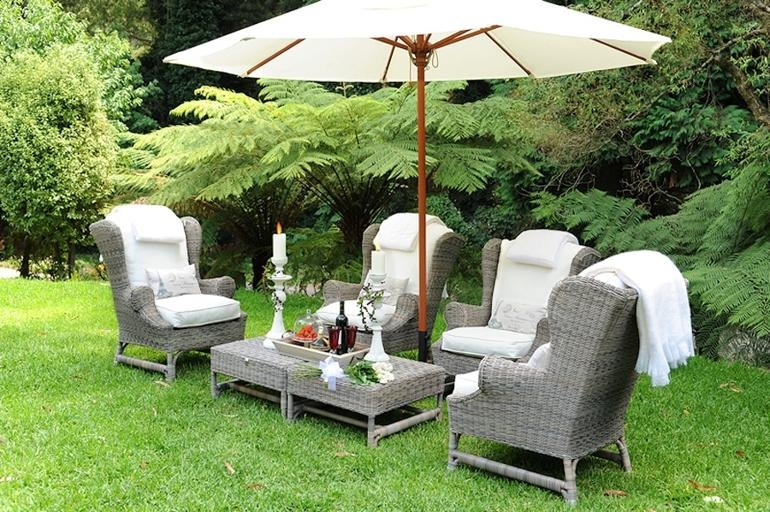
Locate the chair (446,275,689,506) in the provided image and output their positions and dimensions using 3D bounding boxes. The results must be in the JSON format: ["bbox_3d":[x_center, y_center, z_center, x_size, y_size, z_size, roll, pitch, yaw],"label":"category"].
[{"bbox_3d":[1.432,0.972,5.705,1.629,1.683,1.436,0,0,45],"label":"chair"}]

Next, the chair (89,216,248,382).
[{"bbox_3d":[-2.232,0.340,7.279,1.424,1.478,1.316,4,9,29],"label":"chair"}]

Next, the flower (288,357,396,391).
[{"bbox_3d":[-0.275,0.993,5.758,0.564,0.209,0.352,1,9,-8],"label":"flower"}]

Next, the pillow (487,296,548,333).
[{"bbox_3d":[1.127,0.492,6.250,0.482,0.280,0.140,6,-21,36],"label":"pillow"}]

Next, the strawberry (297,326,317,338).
[{"bbox_3d":[-0.729,0.708,6.330,0.132,0.055,0.132,3,3,8],"label":"strawberry"}]

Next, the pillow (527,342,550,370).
[{"bbox_3d":[1.169,0.763,5.130,0.185,0.201,0.157,2,-4,17],"label":"pillow"}]

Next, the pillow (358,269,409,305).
[{"bbox_3d":[0.050,0.344,7.007,0.414,0.381,0.121,4,-25,6],"label":"pillow"}]

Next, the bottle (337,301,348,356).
[{"bbox_3d":[-0.385,0.620,6.097,0.104,0.479,0.186,-1,10,-17],"label":"bottle"}]

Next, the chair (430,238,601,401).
[{"bbox_3d":[1.249,0.574,6.390,1.520,1.530,1.524,2,8,15],"label":"chair"}]

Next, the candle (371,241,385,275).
[{"bbox_3d":[-0.093,0.033,6.014,0.110,0.225,0.235,-2,10,-25],"label":"candle"}]

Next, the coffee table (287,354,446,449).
[{"bbox_3d":[-0.241,1.124,5.933,0.877,0.423,0.859,-2,3,-45],"label":"coffee table"}]
